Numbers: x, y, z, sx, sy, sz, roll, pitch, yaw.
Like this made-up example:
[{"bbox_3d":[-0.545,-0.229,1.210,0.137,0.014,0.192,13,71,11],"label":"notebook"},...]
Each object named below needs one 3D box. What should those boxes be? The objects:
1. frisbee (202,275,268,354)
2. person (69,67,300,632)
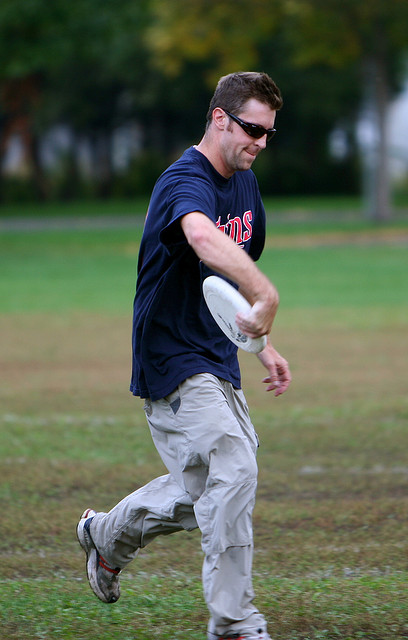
[{"bbox_3d":[0.084,-0.023,2.429,0.040,0.226,0.232,-45,43,-13],"label":"frisbee"},{"bbox_3d":[-0.070,0.087,2.922,0.718,1.818,1.312,1,12,3],"label":"person"}]
